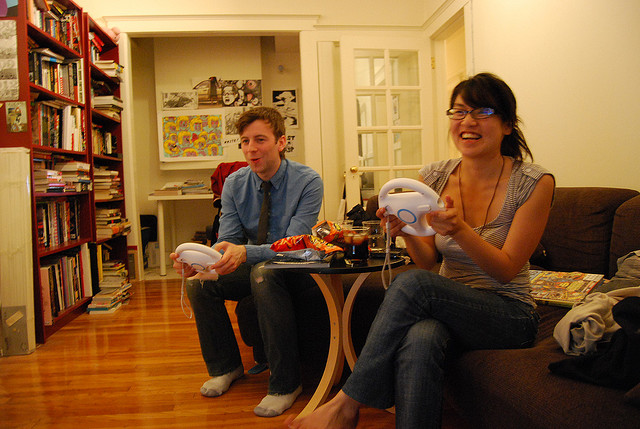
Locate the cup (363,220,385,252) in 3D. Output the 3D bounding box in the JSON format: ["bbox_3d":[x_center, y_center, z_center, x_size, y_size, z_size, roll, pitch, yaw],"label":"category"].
[{"bbox_3d":[0.270,0.104,2.455,0.144,0.157,0.141,2,5,0],"label":"cup"}]

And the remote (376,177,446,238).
[{"bbox_3d":[0.416,-0.030,2.112,0.334,0.281,0.088,-1,23,43],"label":"remote"}]

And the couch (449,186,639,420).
[{"bbox_3d":[1.203,0.264,2.437,0.896,0.791,1.562,-4,7,40],"label":"couch"}]

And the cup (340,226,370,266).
[{"bbox_3d":[0.179,0.150,2.394,0.173,0.184,0.161,-3,0,0],"label":"cup"}]

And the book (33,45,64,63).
[{"bbox_3d":[-2.136,-1.266,3.737,0.155,0.037,0.157,3,5,32],"label":"book"}]

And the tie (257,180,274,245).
[{"bbox_3d":[-0.325,0.001,2.797,0.067,0.439,0.092,1,-23,8],"label":"tie"}]

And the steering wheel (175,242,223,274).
[{"bbox_3d":[-0.620,0.205,2.441,0.203,0.149,0.235,9,6,36],"label":"steering wheel"}]
